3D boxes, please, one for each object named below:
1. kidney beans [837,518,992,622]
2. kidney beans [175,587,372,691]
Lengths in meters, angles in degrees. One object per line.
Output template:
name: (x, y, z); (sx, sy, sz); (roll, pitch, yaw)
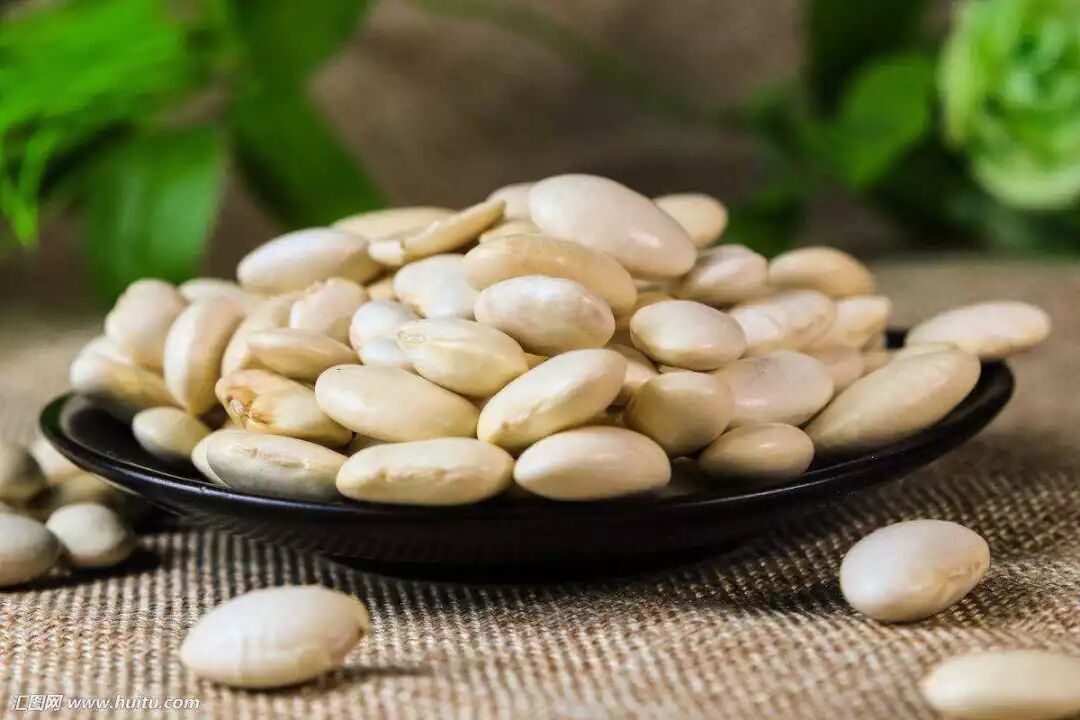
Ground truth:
kidney beans: (0.181, 0.104, 0.557); (0.079, 0.030, 0.047); (-17, 36, -16)
kidney beans: (-0.131, 0.123, 0.541); (0.090, 0.023, 0.054); (-9, 49, -36)
